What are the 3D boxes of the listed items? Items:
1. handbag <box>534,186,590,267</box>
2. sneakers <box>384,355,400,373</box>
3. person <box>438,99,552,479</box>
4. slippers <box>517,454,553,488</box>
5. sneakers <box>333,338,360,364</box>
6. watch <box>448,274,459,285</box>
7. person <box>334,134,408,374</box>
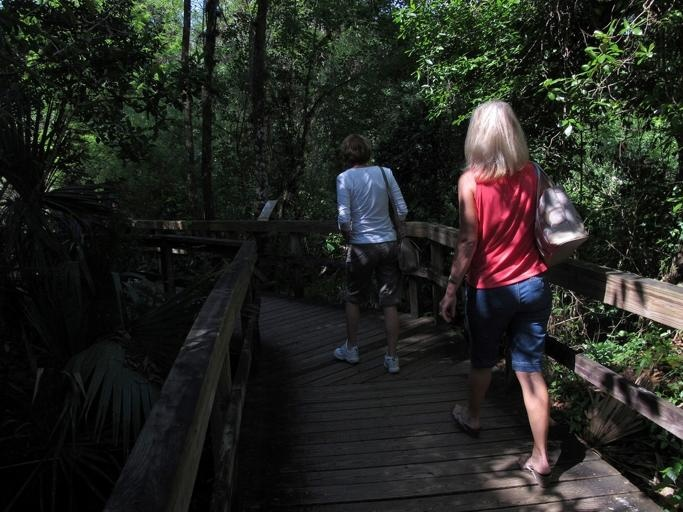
[{"bbox_3d":[1.153,-0.147,2.643,0.215,0.434,0.226,-3,11,-3],"label":"handbag"},{"bbox_3d":[0.408,0.872,4.069,0.067,0.095,0.193,-1,10,-3],"label":"sneakers"},{"bbox_3d":[0.867,0.182,2.787,0.633,2.021,0.373,4,12,29],"label":"person"},{"bbox_3d":[1.053,1.165,2.759,0.069,0.081,0.186,-10,33,-11],"label":"slippers"},{"bbox_3d":[0.020,0.815,4.298,0.118,0.209,0.271,-16,25,-37],"label":"sneakers"},{"bbox_3d":[0.652,0.141,2.906,0.049,0.061,0.036,-14,30,-17],"label":"watch"},{"bbox_3d":[0.225,-0.031,4.132,0.598,1.890,0.466,1,11,17],"label":"person"}]
